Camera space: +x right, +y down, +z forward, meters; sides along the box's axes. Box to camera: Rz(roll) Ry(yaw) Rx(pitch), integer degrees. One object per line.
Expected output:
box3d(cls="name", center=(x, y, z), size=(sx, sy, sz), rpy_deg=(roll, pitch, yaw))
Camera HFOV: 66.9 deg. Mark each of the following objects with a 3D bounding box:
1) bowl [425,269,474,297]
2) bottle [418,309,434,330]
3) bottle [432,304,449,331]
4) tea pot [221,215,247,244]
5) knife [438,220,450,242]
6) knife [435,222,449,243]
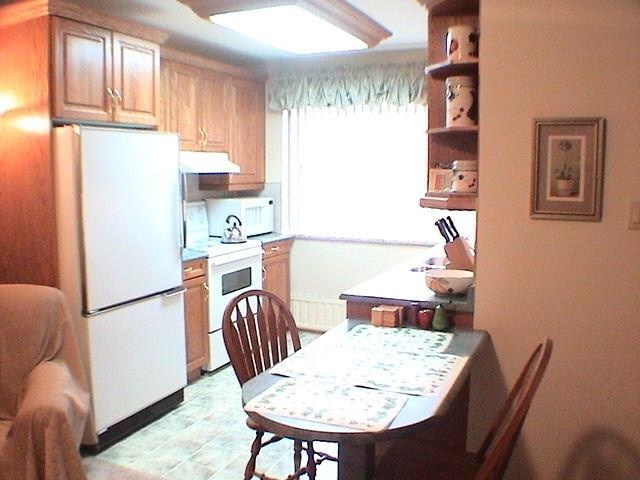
box3d(cls="bowl", center=(0.724, 0.219, 2.710), size=(0.249, 0.129, 0.315), rpy_deg=(3, 12, 13))
box3d(cls="bottle", center=(0.531, 0.397, 2.437), size=(0.083, 0.105, 0.084), rpy_deg=(-2, 9, 0))
box3d(cls="bottle", center=(0.605, 0.390, 2.436), size=(0.091, 0.133, 0.091), rpy_deg=(-3, 12, 1))
box3d(cls="tea pot", center=(-0.771, -0.096, 4.394), size=(0.251, 0.252, 0.232), rpy_deg=(-1, 3, 0))
box3d(cls="knife", center=(0.821, -0.065, 3.158), size=(0.076, 0.165, 0.230), rpy_deg=(4, 13, 16))
box3d(cls="knife", center=(0.923, -0.056, 3.644), size=(0.080, 0.206, 0.048), rpy_deg=(-32, 18, -24))
